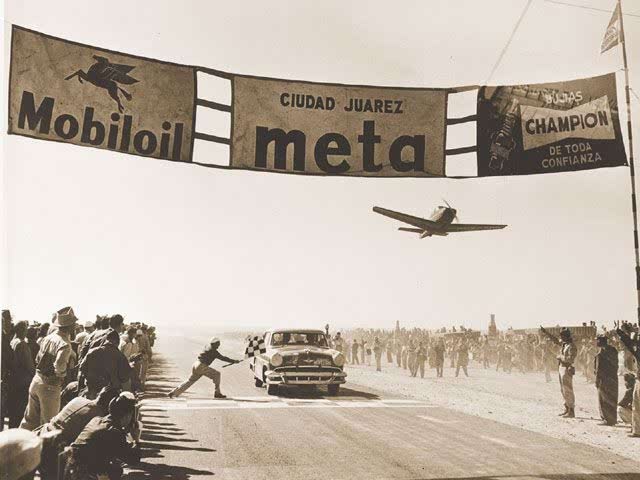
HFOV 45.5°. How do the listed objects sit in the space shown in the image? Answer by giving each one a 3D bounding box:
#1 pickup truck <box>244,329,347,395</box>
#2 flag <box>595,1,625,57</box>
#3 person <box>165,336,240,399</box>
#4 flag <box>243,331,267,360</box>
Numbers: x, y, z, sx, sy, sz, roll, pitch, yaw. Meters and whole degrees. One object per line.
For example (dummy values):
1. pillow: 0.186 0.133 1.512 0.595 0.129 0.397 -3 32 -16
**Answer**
1. pickup truck: -0.667 3.240 20.470 1.392 1.154 2.637 2 -14 -10
2. flag: 5.320 -3.869 13.934 0.261 0.781 0.656 1 -3 4
3. person: -2.780 3.005 18.320 1.679 1.583 0.932 2 9 -13
4. flag: -1.725 2.936 20.463 0.582 0.672 0.240 -1 -30 -10
